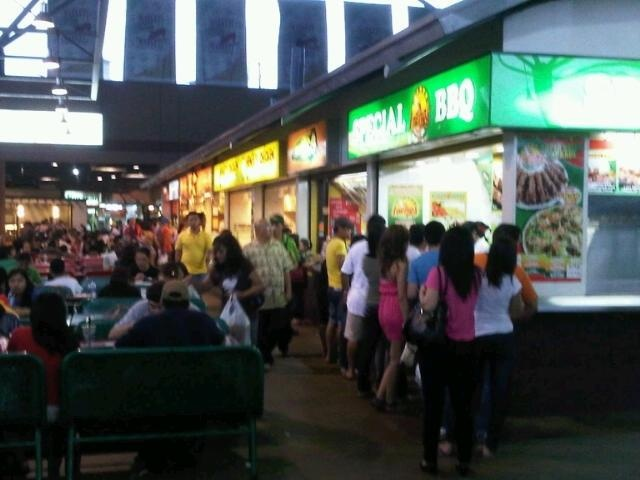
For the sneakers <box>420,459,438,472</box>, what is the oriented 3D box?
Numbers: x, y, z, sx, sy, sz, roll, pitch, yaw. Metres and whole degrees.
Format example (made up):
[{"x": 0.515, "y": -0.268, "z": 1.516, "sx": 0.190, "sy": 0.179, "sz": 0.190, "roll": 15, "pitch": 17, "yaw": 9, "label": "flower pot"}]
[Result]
[{"x": 0.866, "y": 1.782, "z": 5.030, "sx": 0.139, "sy": 0.100, "sz": 0.111, "roll": 2, "pitch": 6, "yaw": 11, "label": "sneakers"}]
